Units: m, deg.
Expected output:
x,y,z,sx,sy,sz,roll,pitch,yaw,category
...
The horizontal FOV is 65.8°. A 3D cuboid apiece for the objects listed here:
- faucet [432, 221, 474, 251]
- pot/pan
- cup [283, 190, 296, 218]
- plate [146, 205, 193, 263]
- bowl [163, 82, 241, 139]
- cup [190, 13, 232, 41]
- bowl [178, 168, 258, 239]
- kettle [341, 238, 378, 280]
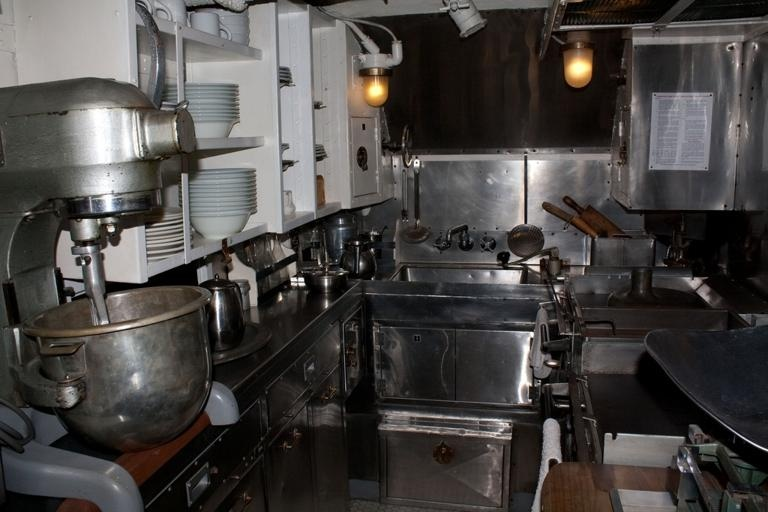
x,y,z,sx,sy,sz,roll,pitch,yaw,category
0.440,-0.118,3.893,0.271,0.189,0.133,-1,2,-2,faucet
-0.704,0.300,1.630,0.425,0.342,0.447,-9,11,-21,pot/pan
-0.429,-0.236,2.666,0.071,0.107,0.110,-2,5,0,cup
-0.724,-0.071,2.037,0.156,0.108,0.154,-5,11,-20,plate
-0.648,-0.541,2.171,0.257,0.185,0.259,0,6,0,bowl
-0.650,-0.859,2.237,0.081,0.097,0.188,2,6,10,cup
-0.643,-0.209,2.306,0.245,0.204,0.259,-1,8,0,bowl
-0.116,0.011,3.409,0.170,0.228,0.227,1,20,6,kettle
